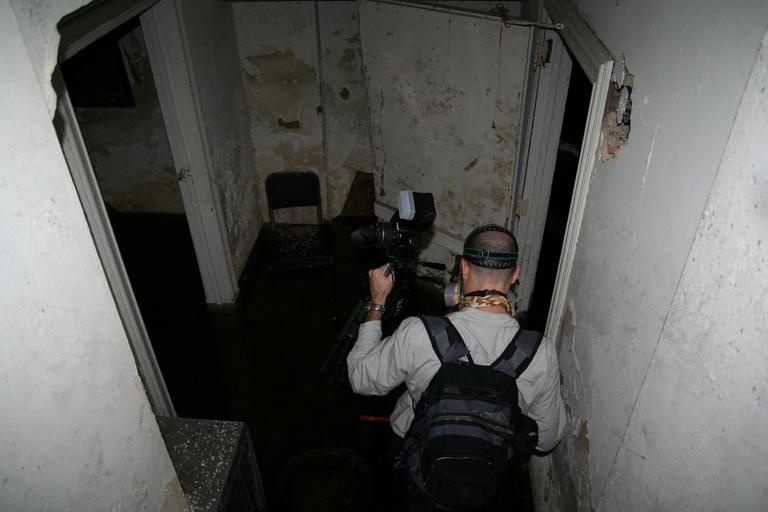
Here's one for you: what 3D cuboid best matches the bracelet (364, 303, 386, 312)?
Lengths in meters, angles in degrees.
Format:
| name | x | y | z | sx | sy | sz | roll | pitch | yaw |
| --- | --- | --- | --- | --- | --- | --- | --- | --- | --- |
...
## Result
| name | x | y | z | sx | sy | sz | roll | pitch | yaw |
| --- | --- | --- | --- | --- | --- | --- | --- | --- | --- |
| bracelet | -0.041 | 0.244 | 2.496 | 0.056 | 0.032 | 0.047 | 2 | 9 | -6 |

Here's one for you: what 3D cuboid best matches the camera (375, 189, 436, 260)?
| name | x | y | z | sx | sy | sz | roll | pitch | yaw |
| --- | --- | --- | --- | --- | --- | --- | --- | --- | --- |
| camera | 0.106 | -0.155 | 2.634 | 0.193 | 0.318 | 0.180 | 12 | 42 | -19 |

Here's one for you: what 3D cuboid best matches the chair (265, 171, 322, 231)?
| name | x | y | z | sx | sy | sz | roll | pitch | yaw |
| --- | --- | --- | --- | --- | --- | --- | --- | --- | --- |
| chair | -0.765 | -0.498 | 4.926 | 0.489 | 0.510 | 0.722 | -2 | 2 | -10 |
